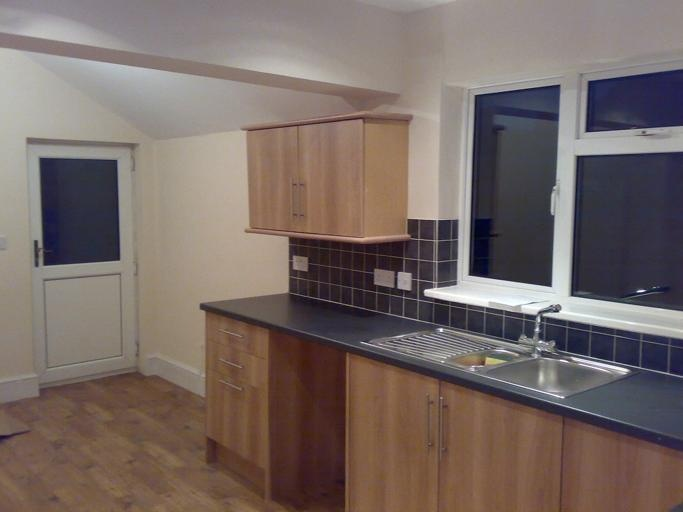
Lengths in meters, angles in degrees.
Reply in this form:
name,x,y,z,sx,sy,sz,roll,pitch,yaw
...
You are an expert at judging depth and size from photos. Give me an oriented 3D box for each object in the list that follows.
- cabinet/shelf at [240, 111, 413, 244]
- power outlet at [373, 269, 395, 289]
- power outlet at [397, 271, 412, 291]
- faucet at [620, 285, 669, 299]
name,x,y,z,sx,sy,sz,roll,pitch,yaw
cabinet/shelf,-0.121,-0.475,3.753,1.024,0.727,0.450,6,10,40
power outlet,0.271,0.138,3.664,0.116,0.085,0.012,6,4,42
power outlet,0.387,0.150,3.566,0.015,0.118,0.116,2,1,-41
faucet,1.487,0.176,2.879,0.194,0.054,0.054,-13,24,42
